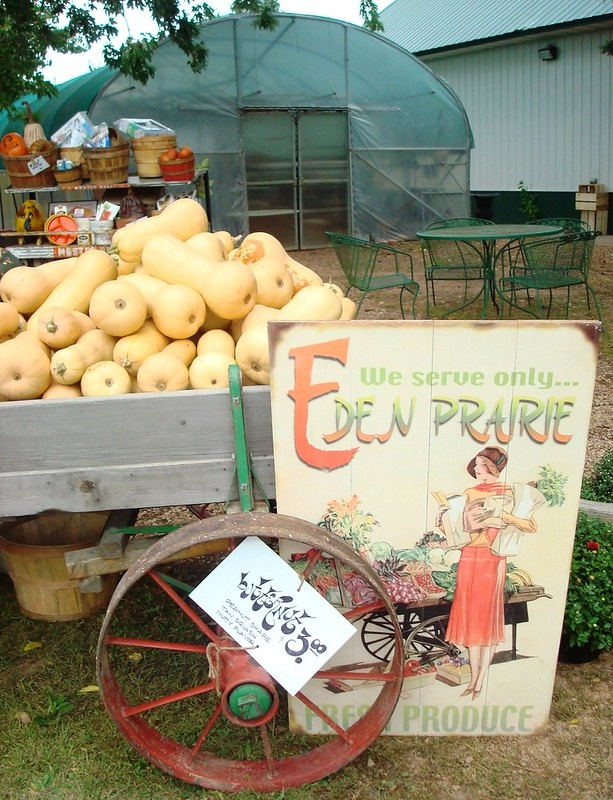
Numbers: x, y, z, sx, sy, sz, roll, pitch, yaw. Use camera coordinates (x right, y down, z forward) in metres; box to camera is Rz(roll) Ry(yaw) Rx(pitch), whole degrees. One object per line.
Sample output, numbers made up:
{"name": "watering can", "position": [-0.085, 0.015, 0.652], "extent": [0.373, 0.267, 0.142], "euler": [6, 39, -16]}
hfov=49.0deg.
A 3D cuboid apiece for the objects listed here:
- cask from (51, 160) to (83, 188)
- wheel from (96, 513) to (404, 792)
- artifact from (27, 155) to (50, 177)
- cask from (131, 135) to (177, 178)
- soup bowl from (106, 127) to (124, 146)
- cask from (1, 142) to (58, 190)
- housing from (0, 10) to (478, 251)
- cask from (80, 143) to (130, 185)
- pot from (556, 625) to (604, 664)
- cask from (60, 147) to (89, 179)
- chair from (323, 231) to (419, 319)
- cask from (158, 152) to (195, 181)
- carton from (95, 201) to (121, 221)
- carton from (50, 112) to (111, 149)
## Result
{"name": "cask", "position": [-2.721, -2.582, 7.700], "extent": [0.329, 0.230, 0.328], "euler": [-12, 34, -25]}
{"name": "wheel", "position": [-0.203, 0.685, 2.260], "extent": [1.014, 0.916, 0.933], "euler": [4, 5, 0]}
{"name": "artifact", "position": [-2.972, -2.603, 7.484], "extent": [0.230, 0.206, 0.110], "euler": [-7, 23, -19]}
{"name": "cask", "position": [-1.785, -2.814, 7.884], "extent": [0.523, 0.359, 0.508], "euler": [-3, 10, -11]}
{"name": "soup bowl", "position": [-2.149, -3.002, 7.671], "extent": [0.176, 0.193, 0.380], "euler": [-5, 20, -13]}
{"name": "cask", "position": [-3.125, -2.678, 7.652], "extent": [0.633, 0.353, 0.585], "euler": [-7, 40, -9]}
{"name": "housing", "position": [-0.278, -5.396, 13.940], "extent": [6.150, 2.943, 7.584], "euler": [-5, 12, -23]}
{"name": "cask", "position": [-2.275, -2.675, 7.701], "extent": [0.546, 0.362, 0.527], "euler": [-5, 13, -19]}
{"name": "pot", "position": [1.009, 0.948, 2.547], "extent": [0.193, 0.123, 0.158], "euler": [0, 7, 12]}
{"name": "cask", "position": [-2.645, -2.760, 7.828], "extent": [0.339, 0.235, 0.317], "euler": [14, 26, 35]}
{"name": "chair", "position": [0.790, -1.321, 7.585], "extent": [0.917, 1.002, 0.838], "euler": [-11, 16, -27]}
{"name": "cask", "position": [-1.434, -2.634, 7.551], "extent": [0.407, 0.305, 0.370], "euler": [-1, 26, -1]}
{"name": "carton", "position": [-2.148, -2.040, 7.310], "extent": [0.309, 0.256, 0.079], "euler": [12, -6, 28]}
{"name": "carton", "position": [-2.598, -3.103, 7.731], "extent": [0.611, 0.402, 1.006], "euler": [-7, 21, -20]}
